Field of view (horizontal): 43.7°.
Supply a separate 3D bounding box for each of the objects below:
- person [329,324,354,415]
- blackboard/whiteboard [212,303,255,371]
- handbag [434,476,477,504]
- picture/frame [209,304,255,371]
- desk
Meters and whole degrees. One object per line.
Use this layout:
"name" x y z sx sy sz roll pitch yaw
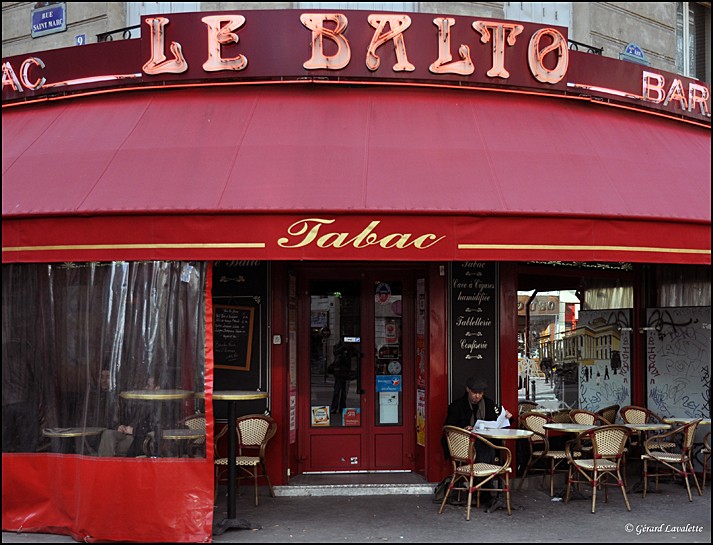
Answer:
"person" -0.233 1.571 13.565 0.339 1.211 0.164 1 5 -3
"blackboard/whiteboard" -1.777 0.984 12.935 0.928 1.401 0.049 1 -1 8
"handbag" 1.389 3.018 12.242 0.467 0.239 0.656 0 -1 5
"picture/frame" -1.773 0.933 12.977 0.498 1.039 0.276 1 0 -14
"desk" -2.143 2.379 11.760 1.552 1.910 1.617 0 1 -11
